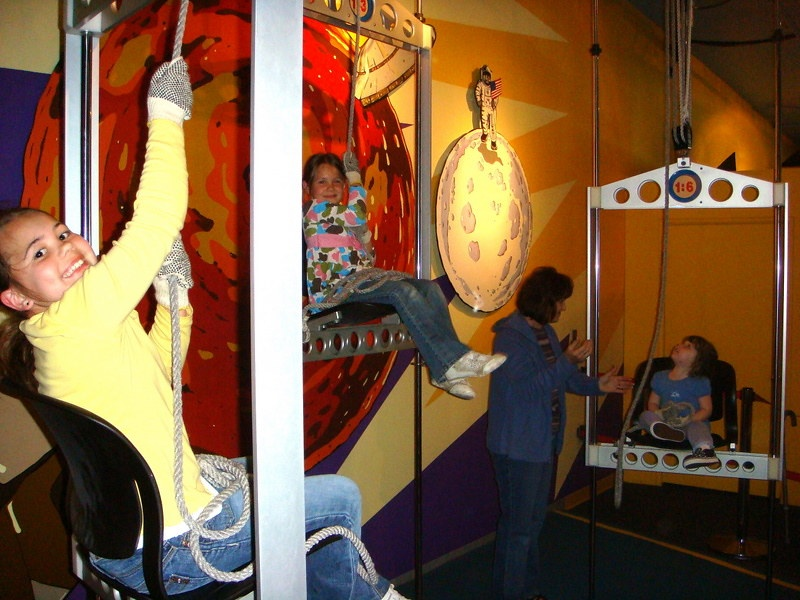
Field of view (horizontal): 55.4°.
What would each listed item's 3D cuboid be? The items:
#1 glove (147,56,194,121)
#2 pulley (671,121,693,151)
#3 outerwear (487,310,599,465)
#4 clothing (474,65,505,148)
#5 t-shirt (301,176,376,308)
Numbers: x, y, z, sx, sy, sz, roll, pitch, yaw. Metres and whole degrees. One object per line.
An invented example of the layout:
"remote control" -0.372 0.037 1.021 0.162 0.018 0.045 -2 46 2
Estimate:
"glove" -0.618 -0.552 2.028 0.098 0.188 0.054 7 0 -13
"pulley" 1.181 -0.689 3.201 0.069 0.110 0.132 1 9 27
"outerwear" 0.688 0.442 3.693 0.538 0.747 0.403 -1 7 11
"clothing" 0.480 -1.004 4.030 0.120 0.426 0.295 2 8 30
"t-shirt" -0.259 -0.225 3.062 0.255 0.501 0.238 -15 -30 -5
